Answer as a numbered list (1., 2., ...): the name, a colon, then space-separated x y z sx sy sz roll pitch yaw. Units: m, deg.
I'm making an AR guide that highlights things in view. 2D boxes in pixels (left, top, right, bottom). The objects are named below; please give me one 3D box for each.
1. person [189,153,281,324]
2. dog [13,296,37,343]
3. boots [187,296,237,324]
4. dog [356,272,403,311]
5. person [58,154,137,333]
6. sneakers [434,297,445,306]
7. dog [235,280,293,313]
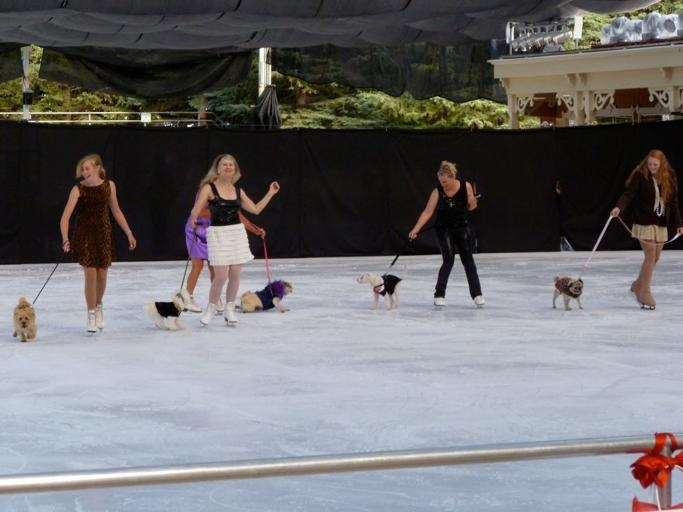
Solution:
1. person: -1.332 -0.140 11.640 0.894 2.107 0.858 -1 13 -3
2. dog: -3.586 0.722 11.005 0.251 0.430 0.918 -5 8 -18
3. boots: -1.497 0.700 11.812 0.417 0.265 0.324 2 -5 -16
4. dog: 0.540 0.456 13.125 0.533 0.576 0.820 1 13 8
5. person: -2.808 -0.120 11.239 0.771 2.058 0.880 -3 13 -13
6. sneakers: 1.322 0.624 13.108 0.113 0.123 0.306 0 -3 0
7. dog: -0.999 0.551 12.837 0.780 0.400 0.336 -6 0 3
